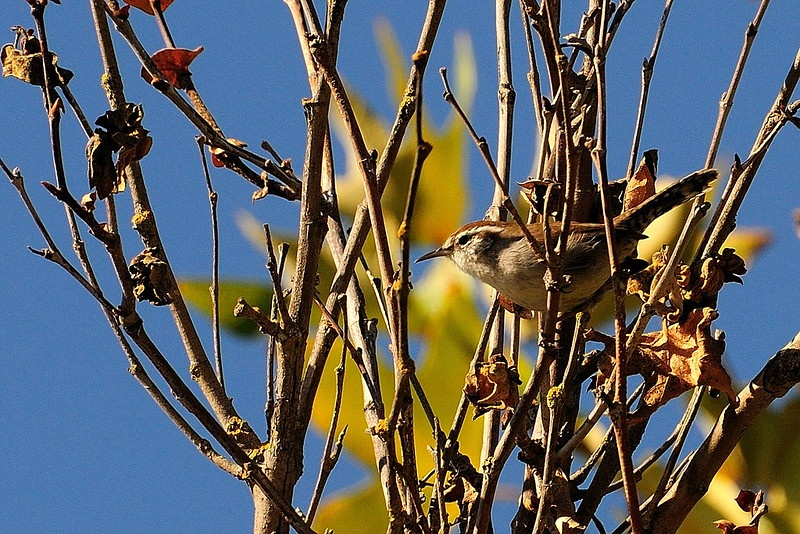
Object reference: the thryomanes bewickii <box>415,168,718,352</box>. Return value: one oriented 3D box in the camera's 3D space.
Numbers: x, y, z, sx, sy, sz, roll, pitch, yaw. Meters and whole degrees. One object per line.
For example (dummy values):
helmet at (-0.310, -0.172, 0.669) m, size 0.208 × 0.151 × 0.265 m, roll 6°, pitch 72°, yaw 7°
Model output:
thryomanes bewickii at (0.768, -0.142, 6.345) m, size 1.144 × 0.579 × 0.431 m, roll -30°, pitch -11°, yaw 11°
